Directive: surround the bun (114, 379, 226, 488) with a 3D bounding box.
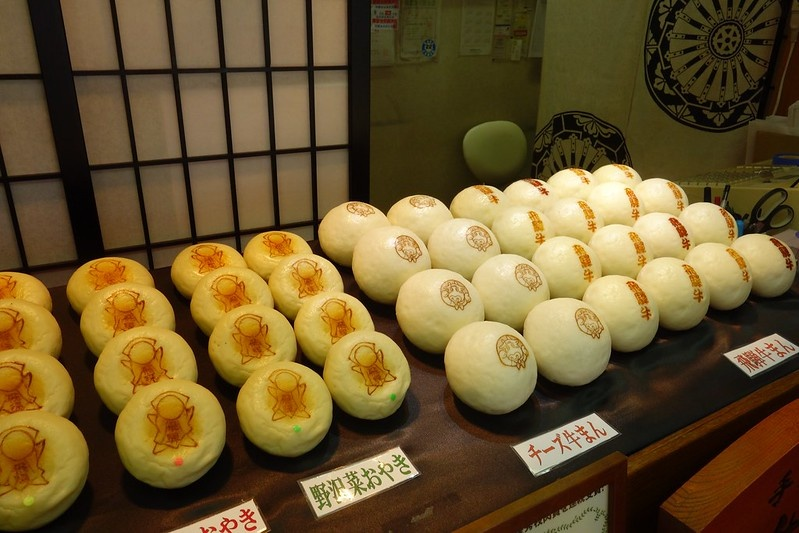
[{"bbox_3d":[-0.473,0.351,1.082,0.210,0.157,0.149,-6,35,-6],"label":"bun"}]

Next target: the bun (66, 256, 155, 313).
[{"bbox_3d":[-0.794,0.076,1.444,0.158,0.082,0.174,-7,52,-16],"label":"bun"}]
